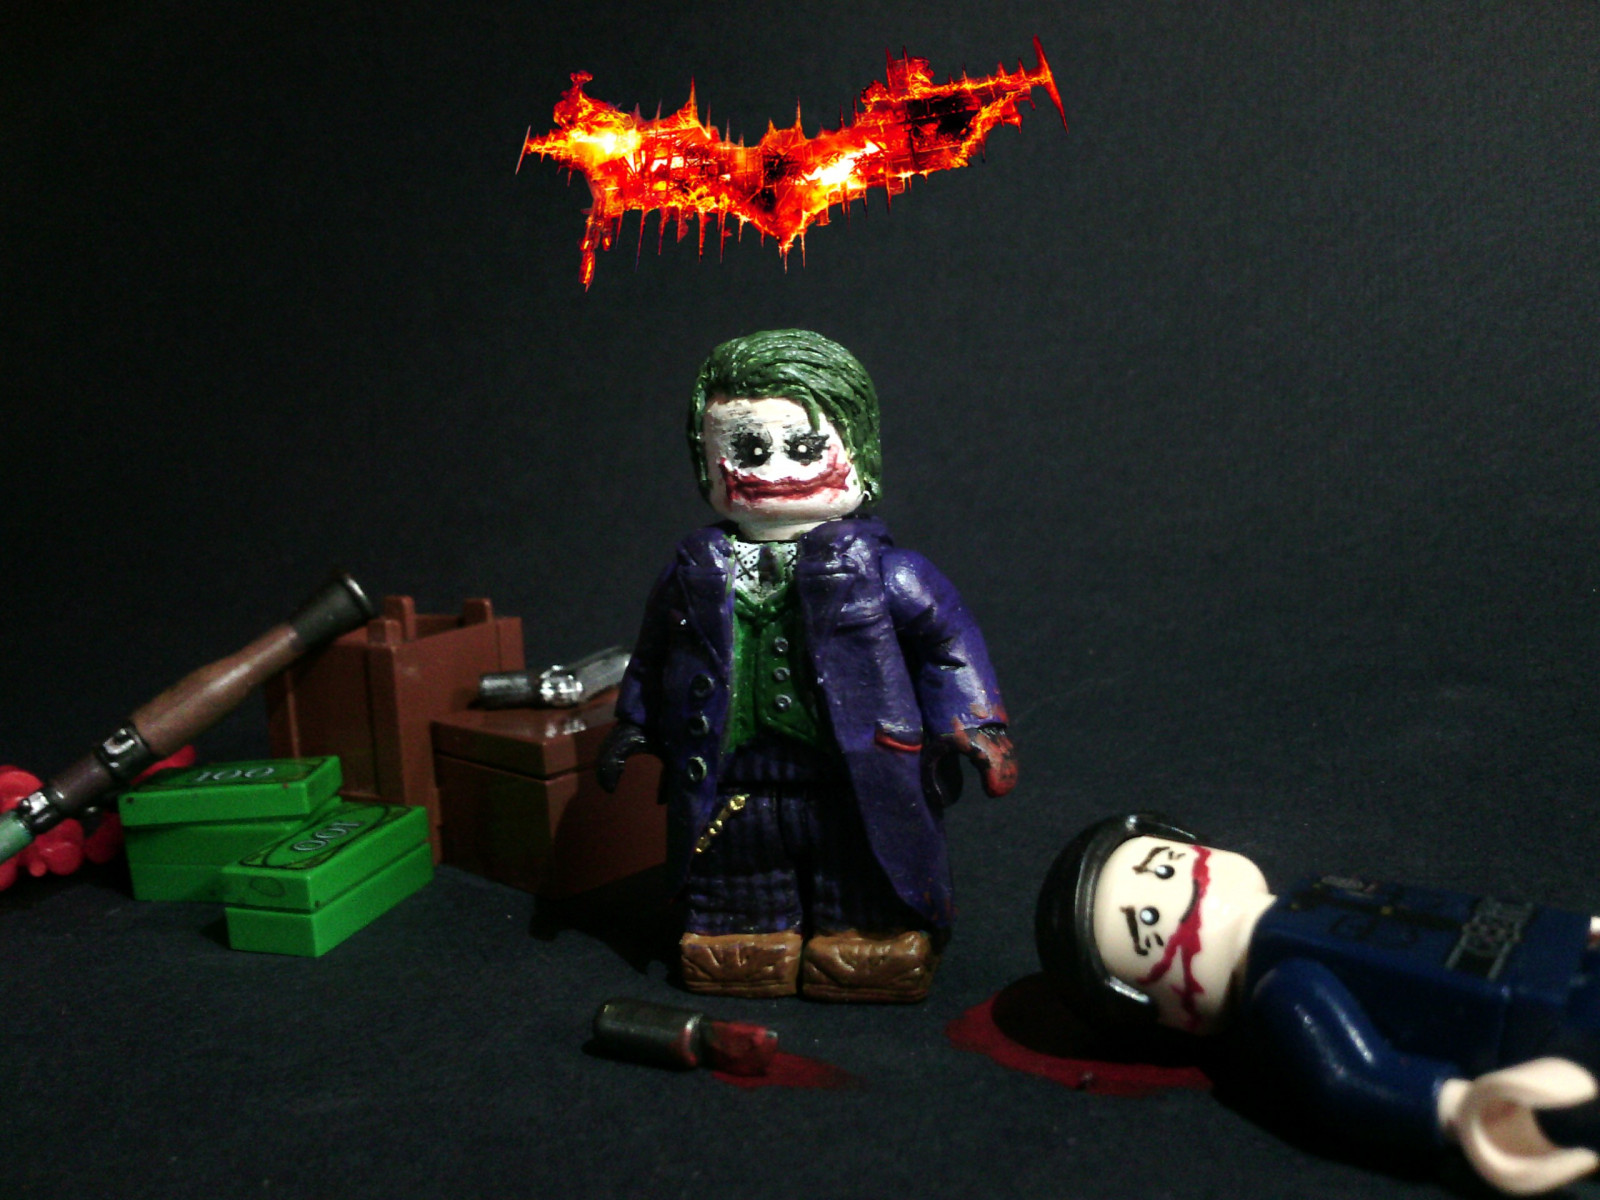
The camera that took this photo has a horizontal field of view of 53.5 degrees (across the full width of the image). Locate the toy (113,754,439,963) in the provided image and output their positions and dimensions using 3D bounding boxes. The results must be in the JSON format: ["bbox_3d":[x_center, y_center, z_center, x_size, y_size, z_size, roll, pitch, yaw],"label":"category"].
[{"bbox_3d":[-1.378,0.617,4.033,0.674,0.288,0.419,4,10,31],"label":"toy"}]

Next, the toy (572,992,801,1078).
[{"bbox_3d":[-0.236,0.870,3.316,0.440,0.151,0.143,6,7,14],"label":"toy"}]

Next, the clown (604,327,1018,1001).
[{"bbox_3d":[0.015,0.148,3.499,0.911,1.408,0.484,2,18,6],"label":"clown"}]
